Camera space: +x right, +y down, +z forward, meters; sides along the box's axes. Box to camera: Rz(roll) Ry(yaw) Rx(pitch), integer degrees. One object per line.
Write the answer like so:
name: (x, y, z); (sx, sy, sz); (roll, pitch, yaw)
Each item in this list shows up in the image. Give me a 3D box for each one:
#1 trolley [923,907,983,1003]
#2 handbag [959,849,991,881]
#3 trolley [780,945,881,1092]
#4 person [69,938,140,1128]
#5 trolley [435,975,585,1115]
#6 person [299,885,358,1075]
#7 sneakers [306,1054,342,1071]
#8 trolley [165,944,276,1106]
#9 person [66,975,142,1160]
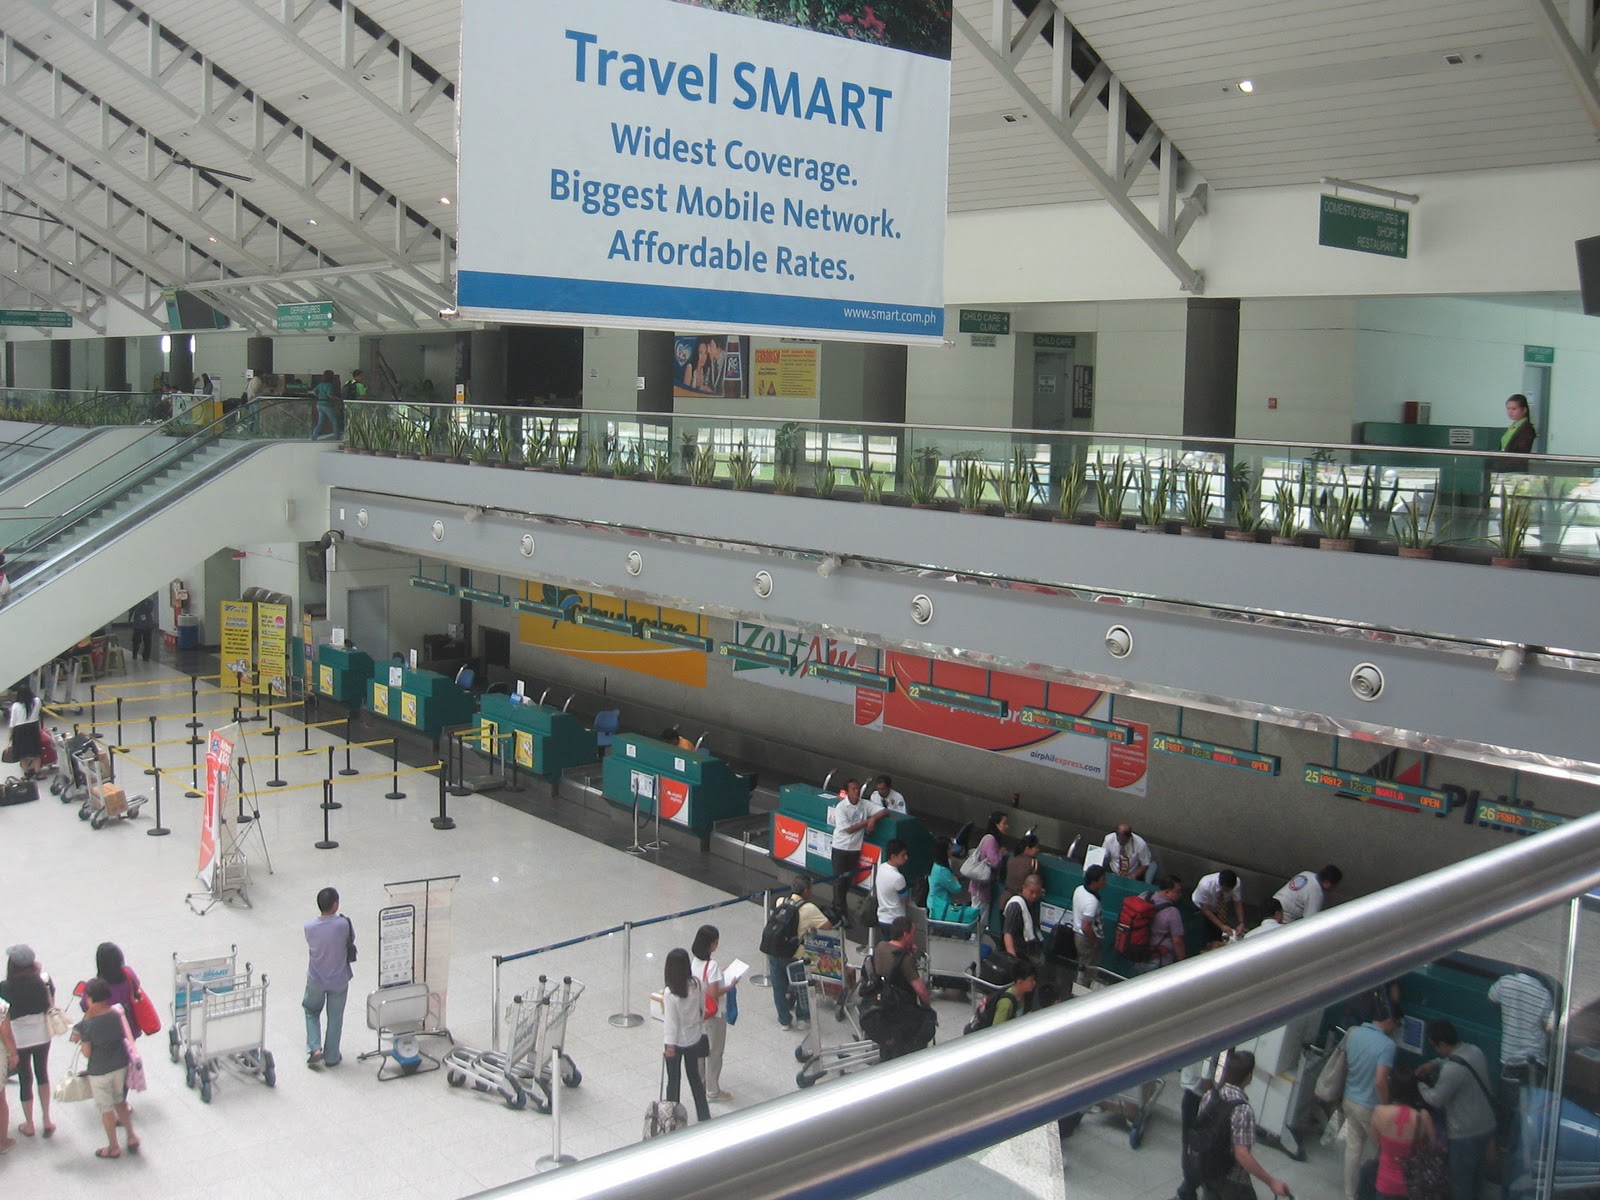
trolley: (1.423, 3.318, 11.858); (0.550, 1.057, 0.607); (8, 32, 11)
handbag: (1.790, 2.735, 13.159); (0.196, 0.312, 0.280); (1, -4, 9)
trolley: (0.305, 3.371, 10.274); (0.588, 0.968, 0.698); (-6, -24, -3)
person: (-5.348, 3.241, 10.004); (0.438, 1.200, 0.402); (-8, 16, -24)
trolley: (-2.280, 3.557, 10.117); (0.908, 0.913, 0.560); (1, -5, 32)
person: (-3.861, 3.021, 10.468); (0.393, 1.475, 0.783); (-2, 4, -22)
sneakers: (-3.849, 3.741, 10.385); (0.261, 0.132, 0.103); (5, 5, -2)
trolley: (-4.718, 3.314, 10.321); (0.663, 0.993, 1.251); (-3, 25, -32)
person: (-4.967, 3.273, 9.148); (0.383, 1.287, 0.576); (-3, 4, -30)
